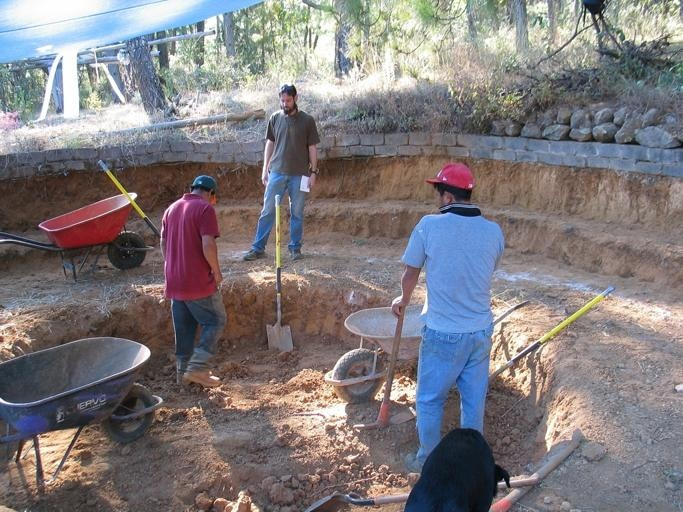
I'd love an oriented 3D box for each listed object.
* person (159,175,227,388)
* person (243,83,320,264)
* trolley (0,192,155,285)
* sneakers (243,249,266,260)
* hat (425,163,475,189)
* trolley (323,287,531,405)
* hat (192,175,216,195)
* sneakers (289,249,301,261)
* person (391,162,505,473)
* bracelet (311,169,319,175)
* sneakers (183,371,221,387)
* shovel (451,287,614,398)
[{"bbox_3d":[-1.765,0.387,7.871,0.682,2.612,0.649,-7,19,-15],"label":"person"},{"bbox_3d":[-0.858,-1.235,9.900,1.072,2.659,0.591,-2,18,-2],"label":"person"},{"bbox_3d":[-4.023,-0.304,10.206,1.689,1.422,1.752,-12,21,-29],"label":"trolley"},{"bbox_3d":[-1.366,-0.024,10.339,0.337,0.157,0.137,6,-3,-30],"label":"sneakers"},{"bbox_3d":[1.085,-0.769,6.522,0.386,0.232,0.284,18,10,18],"label":"hat"},{"bbox_3d":[1.136,1.106,7.908,2.654,1.318,1.143,-3,15,-7],"label":"trolley"},{"bbox_3d":[-1.613,-0.853,7.806,0.182,0.217,0.251,8,16,11],"label":"hat"},{"bbox_3d":[-0.717,-0.023,10.271,0.092,0.124,0.259,-1,-1,-18],"label":"sneakers"},{"bbox_3d":[1.062,0.555,6.547,0.971,2.826,0.772,1,19,7],"label":"person"},{"bbox_3d":[-0.414,-1.269,9.840,0.074,0.058,0.105,1,10,1],"label":"bracelet"},{"bbox_3d":[-1.698,1.506,8.047,0.505,0.245,0.179,1,11,-19],"label":"sneakers"},{"bbox_3d":[2.179,1.031,7.477,0.100,2.023,0.203,31,25,-49],"label":"shovel"}]
